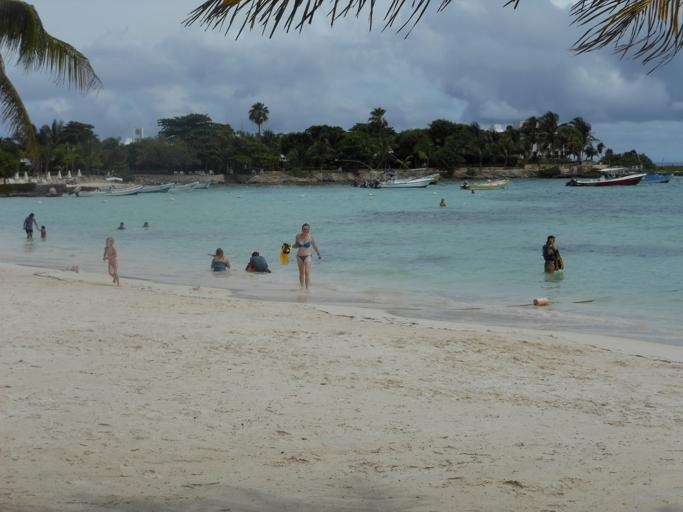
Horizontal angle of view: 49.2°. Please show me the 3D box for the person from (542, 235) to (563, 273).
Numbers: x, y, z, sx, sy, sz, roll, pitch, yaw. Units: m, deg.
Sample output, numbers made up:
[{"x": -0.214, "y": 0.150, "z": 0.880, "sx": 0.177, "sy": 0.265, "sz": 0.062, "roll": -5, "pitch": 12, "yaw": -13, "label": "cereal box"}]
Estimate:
[{"x": 6.431, "y": -0.065, "z": 22.641, "sx": 0.594, "sy": 1.218, "sz": 2.280, "roll": 6, "pitch": 8, "yaw": 16, "label": "person"}]

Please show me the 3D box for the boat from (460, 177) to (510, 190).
[{"x": 19.389, "y": -9.600, "z": 102.114, "sx": 6.233, "sy": 1.362, "sz": 5.854, "roll": -1, "pitch": 8, "yaw": -23, "label": "boat"}]

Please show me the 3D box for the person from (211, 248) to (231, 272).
[{"x": -3.764, "y": 0.118, "z": 23.219, "sx": 0.539, "sy": 0.730, "sz": 0.864, "roll": 1, "pitch": 8, "yaw": -12, "label": "person"}]

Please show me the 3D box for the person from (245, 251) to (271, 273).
[{"x": -2.718, "y": 0.219, "z": 24.266, "sx": 0.512, "sy": 0.776, "sz": 0.487, "roll": 6, "pitch": -37, "yaw": -15, "label": "person"}]
